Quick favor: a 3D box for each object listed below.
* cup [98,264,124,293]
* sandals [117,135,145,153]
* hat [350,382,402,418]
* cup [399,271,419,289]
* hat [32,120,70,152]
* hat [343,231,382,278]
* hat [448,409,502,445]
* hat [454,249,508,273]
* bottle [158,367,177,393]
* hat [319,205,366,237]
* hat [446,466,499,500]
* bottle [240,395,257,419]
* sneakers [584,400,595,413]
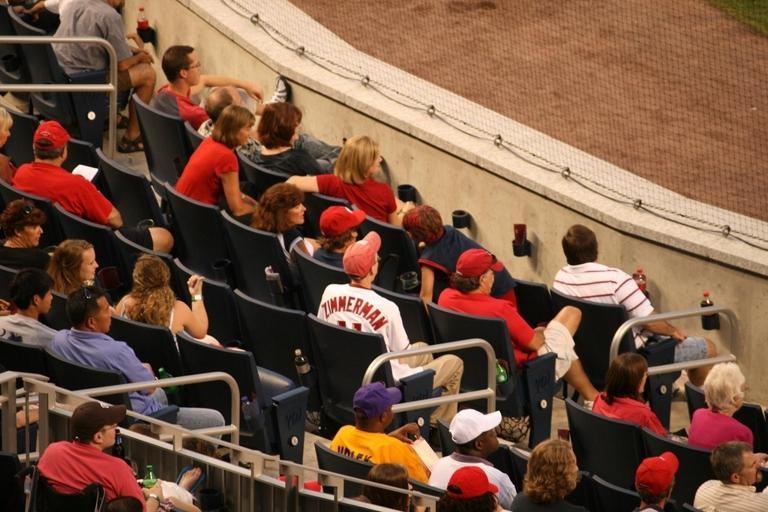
[{"bbox_3d":[-2.482,0.216,12.430,0.294,0.230,0.221,4,9,21],"label":"cup"},{"bbox_3d":[-2.981,-1.301,15.905,0.158,0.195,0.487,14,19,43],"label":"sandals"},{"bbox_3d":[-0.046,1.162,10.693,0.215,0.174,0.336,23,33,35],"label":"hat"},{"bbox_3d":[0.236,0.237,13.059,0.157,0.177,0.163,-2,14,1],"label":"cup"},{"bbox_3d":[-3.286,-1.153,13.359,0.273,0.305,0.337,17,2,36],"label":"hat"},{"bbox_3d":[-0.180,0.021,12.006,0.266,0.405,0.472,16,1,9],"label":"hat"},{"bbox_3d":[0.712,1.307,10.652,0.355,0.174,0.236,-22,29,-6],"label":"hat"},{"bbox_3d":[0.850,0.082,12.121,0.353,0.184,0.221,-15,23,-20],"label":"hat"},{"bbox_3d":[-1.832,1.077,11.447,0.208,0.210,0.162,16,1,-10],"label":"bottle"},{"bbox_3d":[-0.401,-0.338,12.644,0.382,0.196,0.252,-30,36,-21],"label":"hat"},{"bbox_3d":[0.657,1.712,10.000,0.299,0.173,0.201,-9,17,-30],"label":"hat"},{"bbox_3d":[-1.124,1.285,11.236,0.124,0.187,0.109,16,1,23],"label":"bottle"},{"bbox_3d":[1.854,1.365,12.230,0.121,0.122,0.116,5,10,20],"label":"sneakers"}]
